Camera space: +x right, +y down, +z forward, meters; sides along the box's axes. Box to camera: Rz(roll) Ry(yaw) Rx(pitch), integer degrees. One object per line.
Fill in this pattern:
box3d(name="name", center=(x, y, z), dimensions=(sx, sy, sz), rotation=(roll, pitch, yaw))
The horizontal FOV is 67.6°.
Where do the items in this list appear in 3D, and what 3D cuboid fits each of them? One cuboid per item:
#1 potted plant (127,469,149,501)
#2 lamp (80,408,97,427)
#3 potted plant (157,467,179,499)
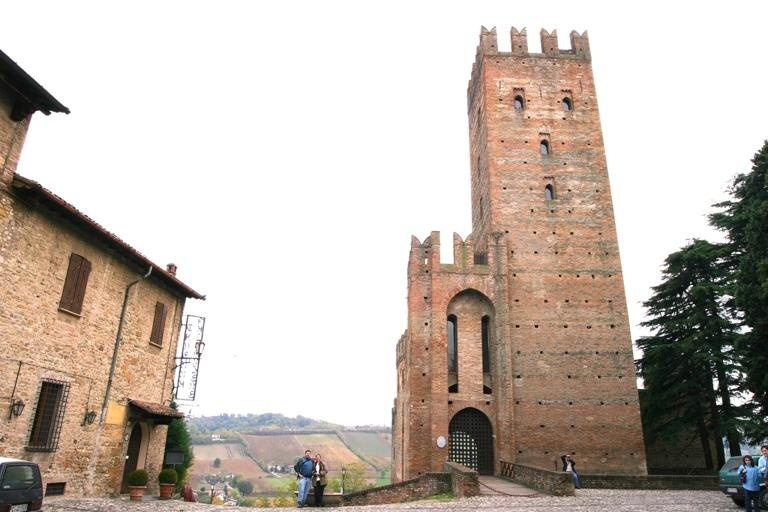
box3d(name="potted plant", center=(-9.767, 9.081, 22.641), dimensions=(0.663, 1.158, 0.608), rotation=(6, -29, -11))
box3d(name="lamp", center=(-11.553, 6.377, 22.518), dimensions=(0.234, 0.646, 0.590), rotation=(-9, -28, 15))
box3d(name="potted plant", center=(-9.235, 9.680, 24.320), dimensions=(0.720, 1.268, 1.357), rotation=(11, -29, -19))
